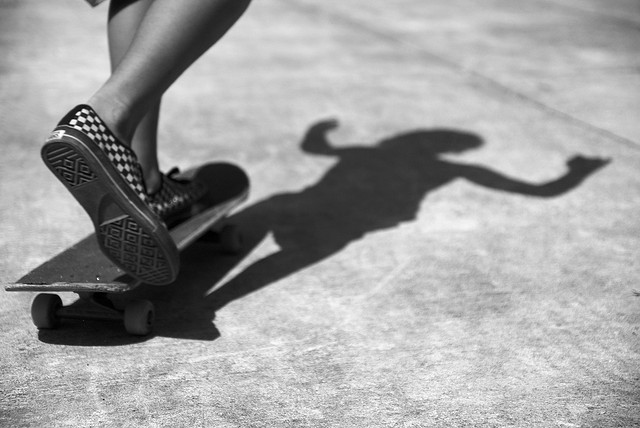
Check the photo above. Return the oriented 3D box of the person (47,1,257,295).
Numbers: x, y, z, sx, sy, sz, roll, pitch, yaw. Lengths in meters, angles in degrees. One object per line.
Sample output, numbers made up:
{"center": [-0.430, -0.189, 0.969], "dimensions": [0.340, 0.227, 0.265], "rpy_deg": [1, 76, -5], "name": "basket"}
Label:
{"center": [-0.602, -0.231, 2.960], "dimensions": [0.637, 1.152, 0.895], "rpy_deg": [8, 43, -5], "name": "person"}
